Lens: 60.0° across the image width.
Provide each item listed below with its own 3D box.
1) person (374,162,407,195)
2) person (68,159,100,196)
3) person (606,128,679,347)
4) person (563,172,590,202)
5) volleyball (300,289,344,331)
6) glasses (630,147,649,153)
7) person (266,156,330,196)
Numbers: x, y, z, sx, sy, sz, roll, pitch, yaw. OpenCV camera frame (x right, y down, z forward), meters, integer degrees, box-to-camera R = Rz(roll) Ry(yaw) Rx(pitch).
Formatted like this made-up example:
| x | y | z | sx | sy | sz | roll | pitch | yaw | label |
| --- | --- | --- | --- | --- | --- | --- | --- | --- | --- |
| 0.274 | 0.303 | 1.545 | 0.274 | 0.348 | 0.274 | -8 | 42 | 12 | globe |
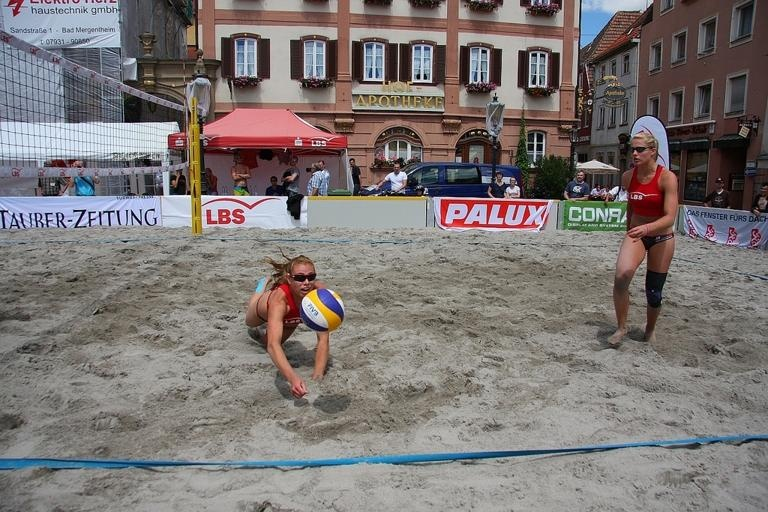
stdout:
| x | y | z | sx | sy | sz | roll | pitch | yaw | label |
| --- | --- | --- | --- | --- | --- | --- | --- | --- | --- |
| 0.280 | -2.051 | 17.072 | 0.710 | 0.821 | 0.940 | -4 | 10 | -16 | person |
| -6.825 | -1.823 | 15.215 | 0.538 | 0.761 | 2.710 | -5 | 11 | -23 | person |
| 3.077 | -0.208 | 7.880 | 0.621 | 2.509 | 0.819 | 5 | 12 | 28 | person |
| 4.787 | -1.776 | 16.501 | 0.573 | 0.684 | 0.972 | 2 | 10 | 17 | person |
| -0.640 | 0.547 | 6.944 | 0.420 | 0.418 | 0.421 | 18 | 16 | -19 | volleyball |
| 2.937 | -1.237 | 7.673 | 0.140 | 0.061 | 0.054 | 5 | 12 | 30 | glasses |
| -2.305 | -2.158 | 17.516 | 0.482 | 0.627 | 1.672 | -7 | 6 | -32 | person |
